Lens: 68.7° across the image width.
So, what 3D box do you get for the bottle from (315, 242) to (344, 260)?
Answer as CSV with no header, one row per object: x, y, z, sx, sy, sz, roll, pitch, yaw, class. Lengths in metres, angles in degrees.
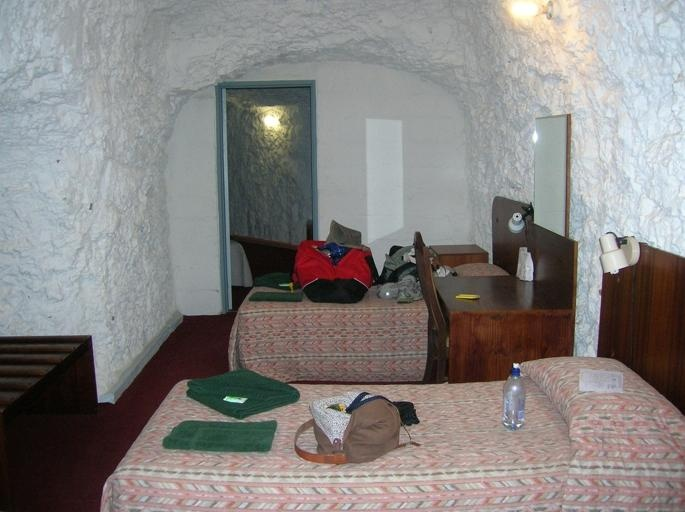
-0.105,-0.049,4.534,0.204,0.065,0.150,1,20,-29,bottle

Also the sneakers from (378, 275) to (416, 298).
0.451,0.260,4.079,0.251,0.099,0.176,-11,6,9,sneakers

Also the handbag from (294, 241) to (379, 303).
-0.068,0.130,4.267,0.522,0.224,0.596,3,13,-1,handbag

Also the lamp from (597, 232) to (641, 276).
1.371,-0.021,2.492,0.220,0.213,0.169,1,-3,-11,lamp

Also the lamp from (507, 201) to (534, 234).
1.396,-0.298,3.925,0.164,0.239,0.089,36,-11,31,lamp

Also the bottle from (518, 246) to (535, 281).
1.389,0.056,3.780,0.086,0.219,0.237,-2,10,2,bottle

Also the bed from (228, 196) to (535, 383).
0.202,0.196,3.896,1.865,0.978,1.790,2,10,1,bed
